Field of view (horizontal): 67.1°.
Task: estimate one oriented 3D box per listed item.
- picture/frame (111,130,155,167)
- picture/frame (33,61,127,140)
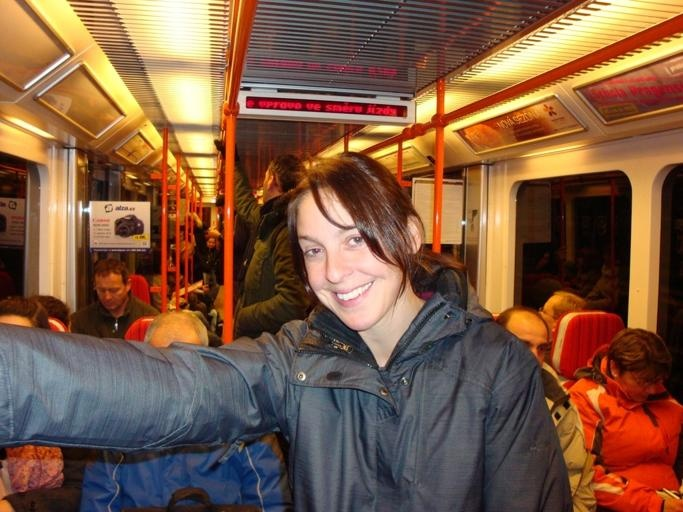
[{"bbox_3d":[-2.772,-1.449,6.928,0.348,0.086,0.377,-41,-20,-2],"label":"picture/frame"},{"bbox_3d":[-2.327,-1.395,4.588,0.431,0.036,0.494,-44,-22,4],"label":"picture/frame"}]
